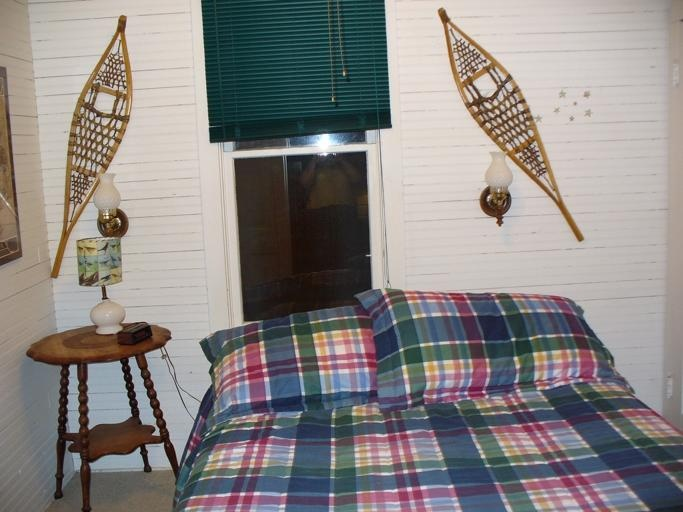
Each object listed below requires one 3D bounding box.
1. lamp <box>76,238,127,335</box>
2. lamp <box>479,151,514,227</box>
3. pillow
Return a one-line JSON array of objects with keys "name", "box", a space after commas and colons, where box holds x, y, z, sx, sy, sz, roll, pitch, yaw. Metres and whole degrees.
[{"name": "lamp", "box": [-1.332, 0.159, 3.610, 0.224, 0.538, 0.256, -2, 7, -12]}, {"name": "lamp", "box": [0.897, -0.386, 3.765, 0.191, 0.428, 0.218, 0, 7, 6]}, {"name": "pillow", "box": [0.298, 0.449, 3.163, 1.558, 0.290, 0.798, -5, 27, -2]}]
